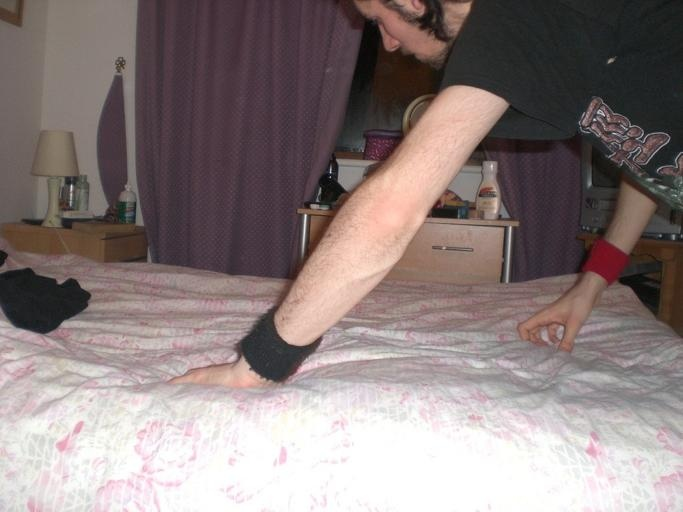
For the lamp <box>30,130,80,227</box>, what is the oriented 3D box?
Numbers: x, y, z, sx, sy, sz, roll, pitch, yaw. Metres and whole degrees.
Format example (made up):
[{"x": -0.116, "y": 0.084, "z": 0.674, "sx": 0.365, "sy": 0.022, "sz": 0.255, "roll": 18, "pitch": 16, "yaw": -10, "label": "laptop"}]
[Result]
[{"x": -1.509, "y": -0.430, "z": 2.660, "sx": 0.208, "sy": 0.481, "sz": 0.391, "roll": -1, "pitch": 18, "yaw": -29, "label": "lamp"}]
